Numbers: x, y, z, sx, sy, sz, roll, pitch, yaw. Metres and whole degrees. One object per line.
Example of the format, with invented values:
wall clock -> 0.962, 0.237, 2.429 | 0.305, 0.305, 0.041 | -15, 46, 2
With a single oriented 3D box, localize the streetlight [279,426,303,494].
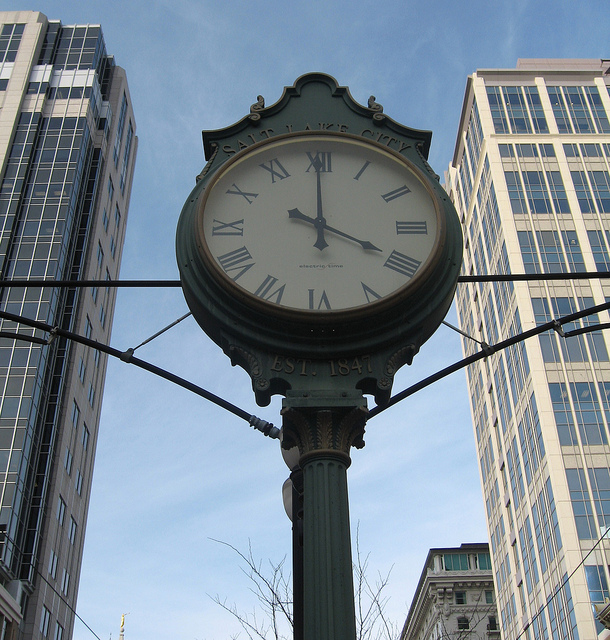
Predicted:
streetlight -> -0.134, 1.544, 10.780 | 0.218, 0.540, 0.569 | -1, -40, 1
